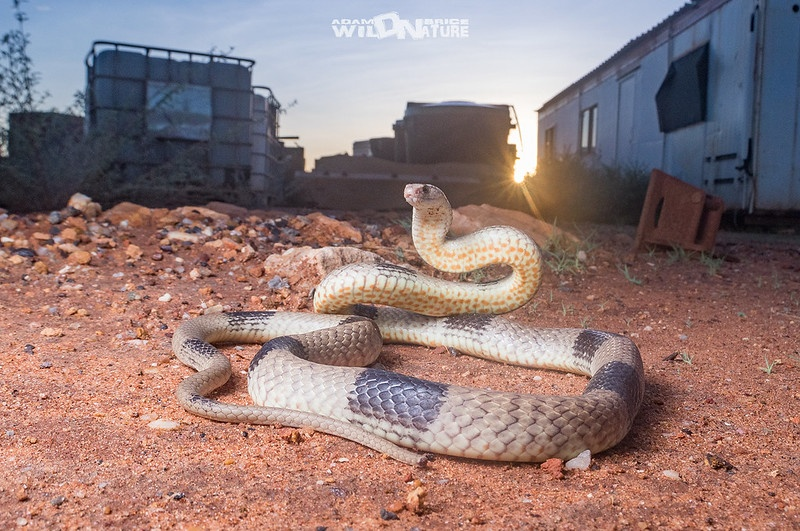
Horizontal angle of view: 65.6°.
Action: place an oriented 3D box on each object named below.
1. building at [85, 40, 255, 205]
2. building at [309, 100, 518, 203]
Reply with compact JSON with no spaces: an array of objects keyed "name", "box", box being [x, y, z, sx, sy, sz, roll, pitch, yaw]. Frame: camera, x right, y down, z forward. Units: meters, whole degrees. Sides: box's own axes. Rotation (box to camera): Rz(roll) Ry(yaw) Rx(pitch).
[{"name":"building","box":[-6.581,-3.861,17.306,4.348,4.154,2.404,-8,21,-44]},{"name":"building","box":[-0.168,-3.105,18.604,6.189,2.284,4.554,0,2,30]}]
